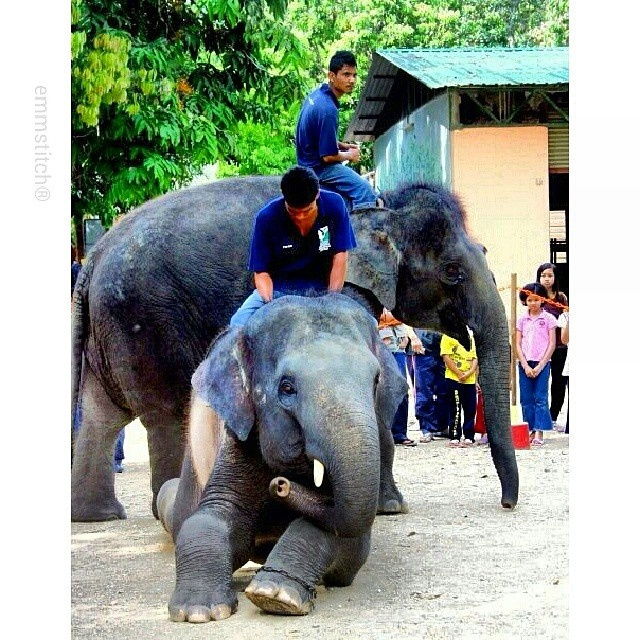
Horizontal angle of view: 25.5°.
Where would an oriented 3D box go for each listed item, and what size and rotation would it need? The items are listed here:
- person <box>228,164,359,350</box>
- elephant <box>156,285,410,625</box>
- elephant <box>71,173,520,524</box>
[{"bbox_3d":[-0.099,-0.208,5.129,0.498,0.769,0.489,-11,49,-11],"label":"person"},{"bbox_3d":[-0.211,0.435,5.122,0.850,1.065,1.864,6,-1,-10],"label":"elephant"},{"bbox_3d":[-0.195,0.105,6.141,2.043,1.510,0.954,-1,8,4],"label":"elephant"}]
